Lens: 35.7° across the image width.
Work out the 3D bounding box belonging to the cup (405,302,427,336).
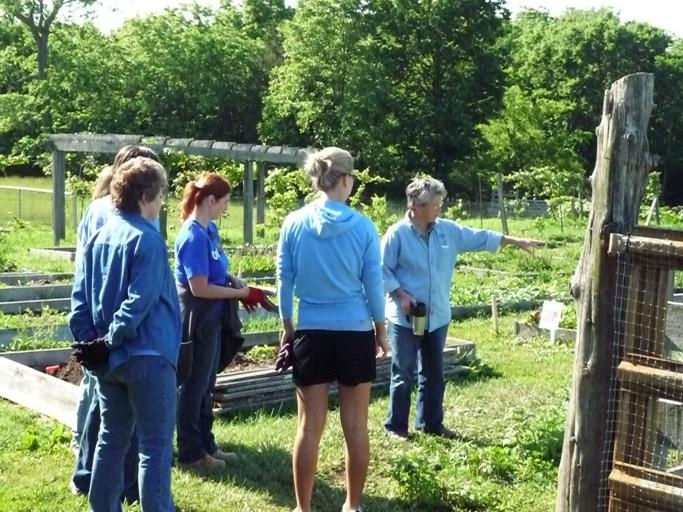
[{"bbox_3d":[0.893,0.743,12.726,0.285,0.351,0.167,6,10,41],"label":"cup"}]

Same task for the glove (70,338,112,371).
[{"bbox_3d":[-2.632,1.018,11.108,0.416,0.346,0.132,3,3,17],"label":"glove"}]

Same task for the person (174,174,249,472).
[{"bbox_3d":[-1.543,0.747,12.126,0.741,3.415,0.563,0,3,-12],"label":"person"}]
